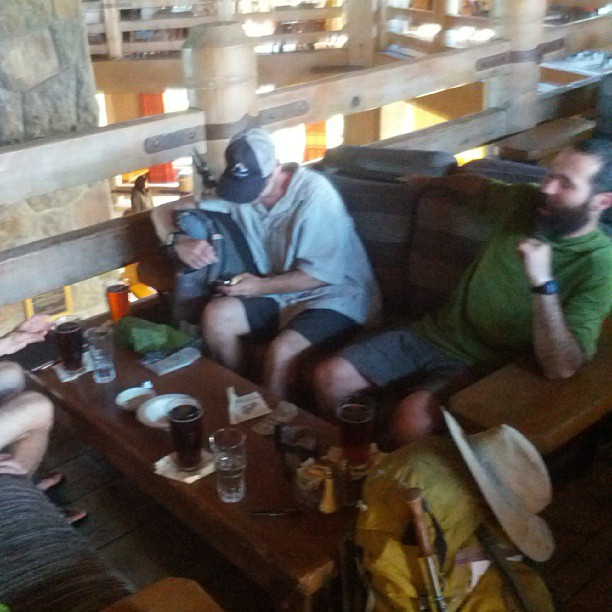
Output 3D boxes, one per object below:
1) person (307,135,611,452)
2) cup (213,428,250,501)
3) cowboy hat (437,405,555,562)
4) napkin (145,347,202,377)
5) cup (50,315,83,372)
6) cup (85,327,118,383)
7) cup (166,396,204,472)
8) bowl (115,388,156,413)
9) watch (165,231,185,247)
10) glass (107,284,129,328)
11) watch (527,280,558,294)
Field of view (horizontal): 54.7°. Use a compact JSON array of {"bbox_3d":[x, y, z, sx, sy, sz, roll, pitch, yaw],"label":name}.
[{"bbox_3d":[0.384,-0.019,1.409,0.557,0.715,0.435,-19,32,-28],"label":"person"},{"bbox_3d":[-0.151,0.325,1.217,0.063,0.131,0.103,-7,28,-7],"label":"cup"},{"bbox_3d":[0.409,0.331,1.183,0.198,0.246,0.285,-11,27,-15],"label":"cowboy hat"},{"bbox_3d":[-0.360,0.154,1.631,0.113,0.012,0.071,-16,24,-32],"label":"napkin"},{"bbox_3d":[-0.636,0.099,1.593,0.075,0.161,0.059,-9,30,-11],"label":"cup"},{"bbox_3d":[-0.564,0.113,1.622,0.082,0.138,0.185,-13,27,-17],"label":"cup"},{"bbox_3d":[-0.266,0.264,1.304,0.083,0.149,0.154,-11,27,-14],"label":"cup"},{"bbox_3d":[-0.429,0.239,1.489,0.083,0.028,0.065,-6,19,19],"label":"bowl"},{"bbox_3d":[-0.372,-0.193,1.697,0.041,0.056,0.037,24,13,18],"label":"watch"},{"bbox_3d":[-0.599,0.000,1.839,0.114,0.136,0.096,1,-11,-19],"label":"glass"},{"bbox_3d":[0.557,-0.035,1.372,0.058,0.026,0.052,-2,-8,-6],"label":"watch"}]
